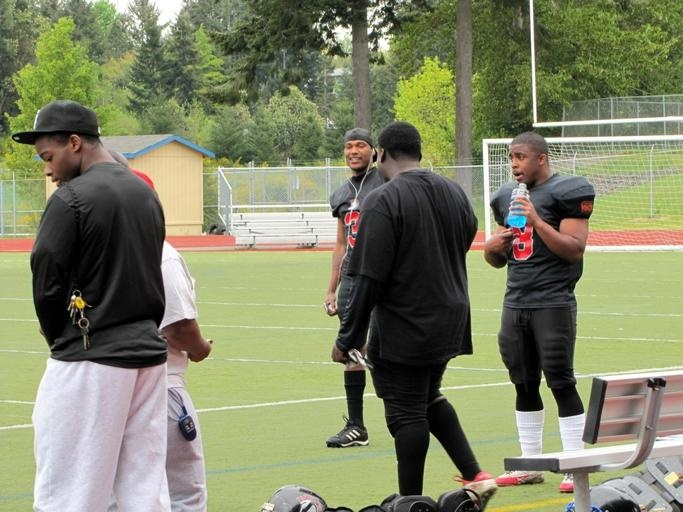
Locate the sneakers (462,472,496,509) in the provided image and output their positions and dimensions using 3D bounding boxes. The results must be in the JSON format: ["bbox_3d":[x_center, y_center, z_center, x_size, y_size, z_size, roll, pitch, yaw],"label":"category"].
[{"bbox_3d":[0.858,1.442,6.189,0.207,0.175,0.330,-3,6,4],"label":"sneakers"}]

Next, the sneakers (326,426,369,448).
[{"bbox_3d":[0.079,1.451,8.129,0.367,0.147,0.138,4,-10,-26],"label":"sneakers"}]

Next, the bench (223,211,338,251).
[{"bbox_3d":[-1.892,-0.869,33.978,3.395,1.130,1.235,-3,6,1],"label":"bench"}]

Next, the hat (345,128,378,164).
[{"bbox_3d":[0.125,-0.916,8.517,0.320,0.273,0.389,-2,10,9],"label":"hat"}]

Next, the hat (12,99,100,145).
[{"bbox_3d":[-1.497,-0.694,5.350,0.453,0.171,0.244,1,3,-13],"label":"hat"}]

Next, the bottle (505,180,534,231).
[{"bbox_3d":[1.255,-0.333,7.146,0.173,0.340,0.381,-3,6,10],"label":"bottle"}]

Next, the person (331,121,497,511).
[{"bbox_3d":[0.455,0.384,6.298,0.981,2.421,0.675,-6,7,-12],"label":"person"}]
